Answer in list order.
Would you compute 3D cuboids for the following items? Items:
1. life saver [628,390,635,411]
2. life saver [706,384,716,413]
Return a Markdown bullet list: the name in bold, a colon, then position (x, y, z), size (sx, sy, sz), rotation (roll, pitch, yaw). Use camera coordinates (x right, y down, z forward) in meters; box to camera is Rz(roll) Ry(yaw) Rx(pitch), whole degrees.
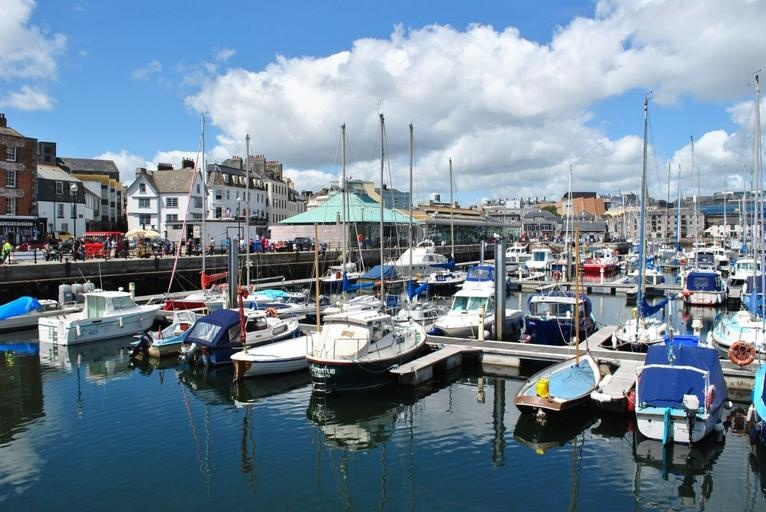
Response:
- **life saver**: position (10.704, 6.335, 31.213), size (0.274, 0.669, 0.573), rotation (-3, 1, 17)
- **life saver**: position (13.213, 5.827, 29.217), size (0.245, 1.149, 0.299), rotation (5, 3, 3)
